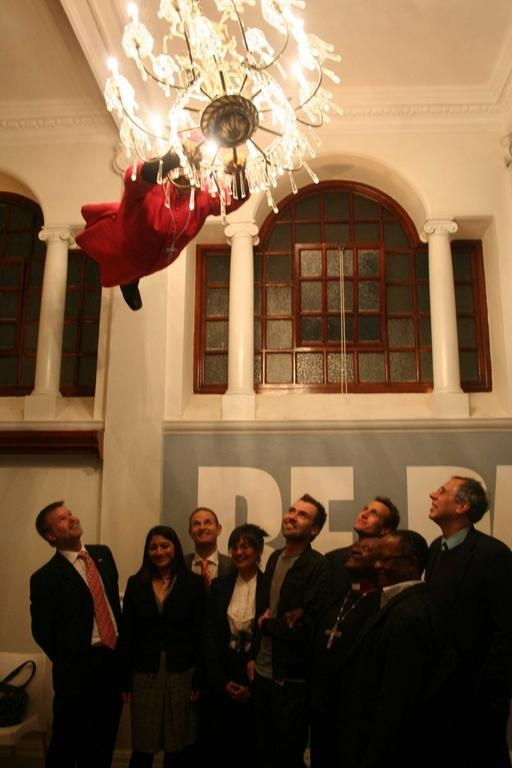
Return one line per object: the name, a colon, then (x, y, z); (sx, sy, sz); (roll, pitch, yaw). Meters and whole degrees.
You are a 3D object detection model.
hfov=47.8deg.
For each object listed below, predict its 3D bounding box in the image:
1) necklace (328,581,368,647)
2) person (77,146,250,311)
necklace: (0.411, 0.996, 2.546); (0.098, 0.348, 0.028); (-13, -56, 43)
person: (-0.437, -0.675, 2.485); (0.437, 0.541, 1.146); (7, -3, -37)
